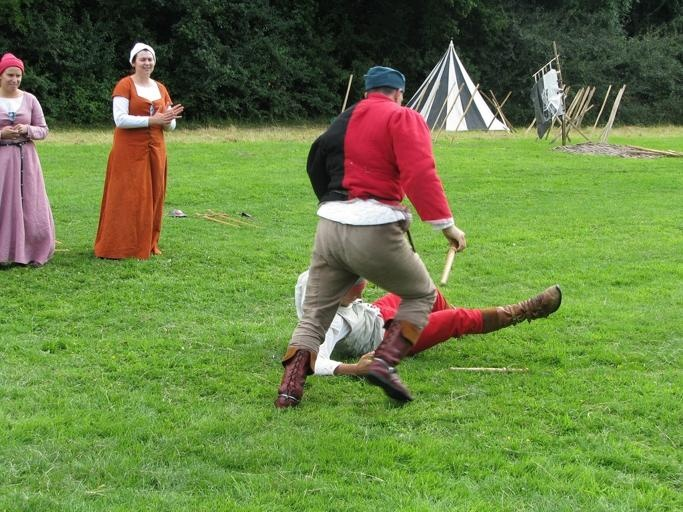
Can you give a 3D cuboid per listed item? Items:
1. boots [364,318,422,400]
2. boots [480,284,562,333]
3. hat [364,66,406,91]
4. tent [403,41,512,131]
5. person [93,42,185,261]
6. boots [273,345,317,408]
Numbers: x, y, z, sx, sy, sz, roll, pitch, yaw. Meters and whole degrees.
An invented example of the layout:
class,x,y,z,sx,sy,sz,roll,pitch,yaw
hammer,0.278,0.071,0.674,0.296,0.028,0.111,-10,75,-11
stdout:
class,x,y,z,sx,sy,sz,roll,pitch,yaw
boots,0.489,0.776,8.482,0.202,0.476,0.657,12,-32,-37
boots,1.849,0.532,9.472,1.115,0.482,0.347,-5,-13,5
hat,0.417,-1.669,8.737,0.306,0.146,0.238,-4,9,-38
tent,3.221,-5.562,33.214,3.543,2.508,4.016,5,9,33
person,-2.576,-1.322,11.879,0.921,2.735,0.686,-2,17,-33
boots,-0.430,1.122,8.628,0.245,0.616,0.271,19,-37,-6
